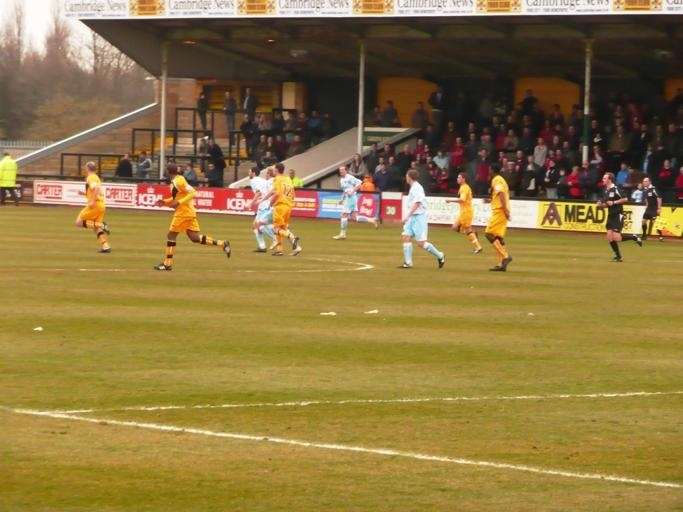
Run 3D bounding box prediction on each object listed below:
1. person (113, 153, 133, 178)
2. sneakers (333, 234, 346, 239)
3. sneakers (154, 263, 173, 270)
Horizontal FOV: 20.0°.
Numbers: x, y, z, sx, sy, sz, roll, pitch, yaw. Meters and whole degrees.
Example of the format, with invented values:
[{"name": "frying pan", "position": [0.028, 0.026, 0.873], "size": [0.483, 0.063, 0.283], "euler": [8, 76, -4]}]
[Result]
[{"name": "person", "position": [-8.249, -3.479, 72.946], "size": [0.600, 0.897, 1.337], "euler": [3, 3, -7]}, {"name": "sneakers", "position": [-0.084, -0.637, 60.402], "size": [0.288, 0.178, 0.592], "euler": [2, 3, -26]}, {"name": "sneakers", "position": [-4.945, 0.273, 53.262], "size": [0.394, 0.163, 0.209], "euler": [4, 4, 0]}]
